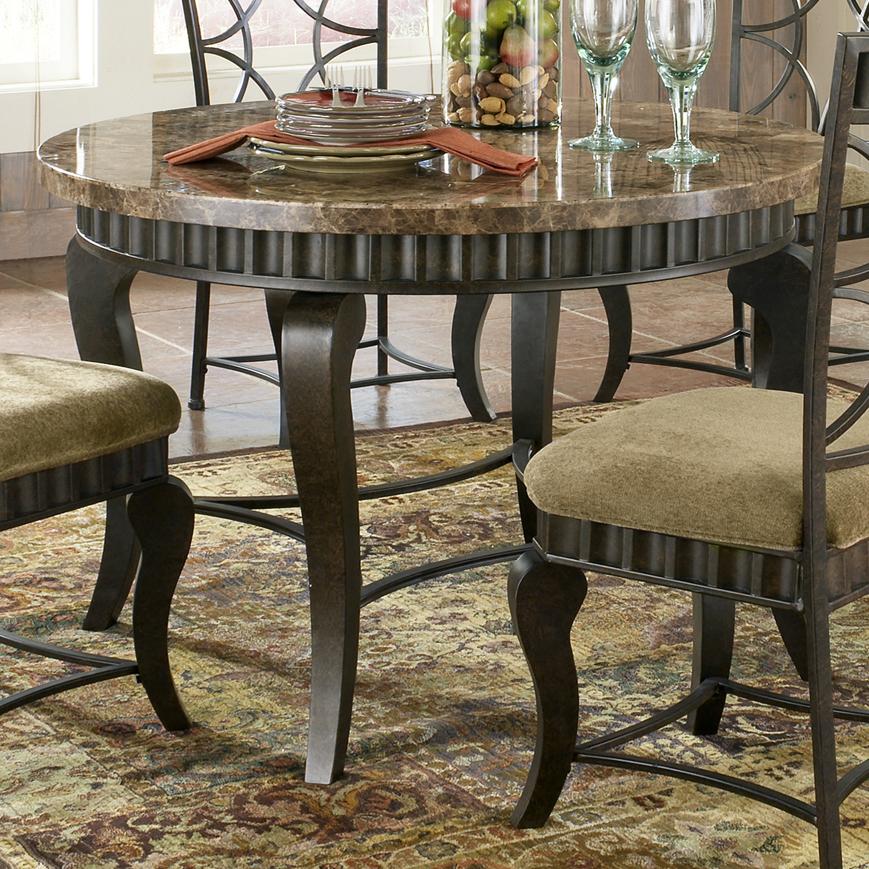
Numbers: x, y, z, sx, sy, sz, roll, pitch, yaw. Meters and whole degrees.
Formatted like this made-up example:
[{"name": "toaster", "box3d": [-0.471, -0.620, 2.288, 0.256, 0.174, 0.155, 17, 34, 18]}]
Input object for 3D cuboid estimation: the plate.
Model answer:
[{"name": "plate", "box3d": [-0.119, -0.375, 1.213, 0.217, 0.061, 0.218, 7, 14, 32]}]
